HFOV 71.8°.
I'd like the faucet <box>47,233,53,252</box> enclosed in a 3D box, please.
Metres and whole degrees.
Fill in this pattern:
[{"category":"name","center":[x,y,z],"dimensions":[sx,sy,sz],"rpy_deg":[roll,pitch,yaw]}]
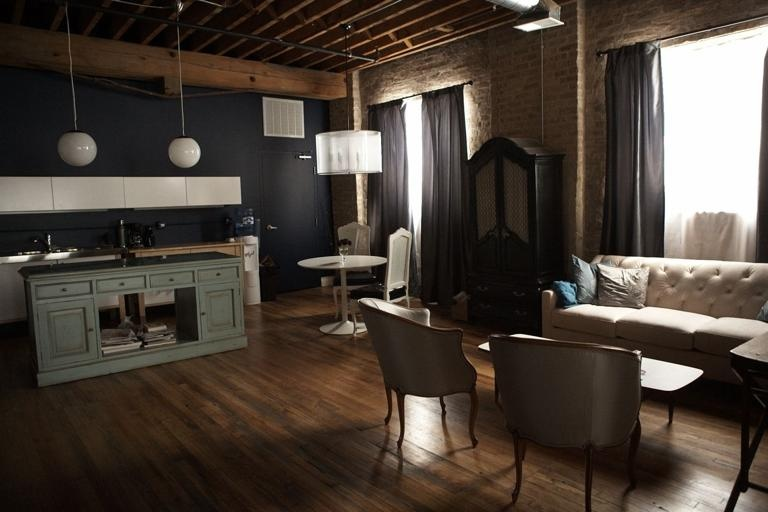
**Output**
[{"category":"faucet","center":[-4.685,-0.190,7.394],"dimensions":[0.080,0.238,0.139],"rpy_deg":[-8,8,-33]}]
